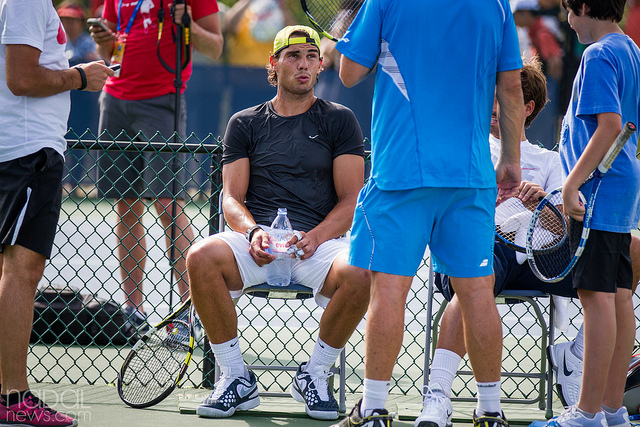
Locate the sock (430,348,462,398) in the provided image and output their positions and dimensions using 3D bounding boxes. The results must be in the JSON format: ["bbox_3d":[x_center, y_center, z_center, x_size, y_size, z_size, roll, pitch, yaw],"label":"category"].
[{"bbox_3d":[0.733,0.992,5.186,0.181,0.293,0.100,4,-34,32],"label":"sock"}]

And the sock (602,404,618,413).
[{"bbox_3d":[1.707,1.148,5.088,0.081,0.041,0.009,0,2,15],"label":"sock"}]

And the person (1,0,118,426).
[{"bbox_3d":[-1.646,-0.002,5.183,0.517,2.518,0.345,-1,2,-18],"label":"person"}]

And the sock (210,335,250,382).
[{"bbox_3d":[-0.556,0.901,5.388,0.235,0.271,0.097,0,1,-10],"label":"sock"}]

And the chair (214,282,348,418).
[{"bbox_3d":[-0.214,0.836,5.825,0.874,0.975,0.779,1,-8,2],"label":"chair"}]

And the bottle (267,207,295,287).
[{"bbox_3d":[-0.247,0.218,5.554,0.172,0.490,0.352,0,2,-2],"label":"bottle"}]

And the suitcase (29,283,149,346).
[{"bbox_3d":[-1.757,0.774,6.580,0.859,0.453,0.597,0,2,-5],"label":"suitcase"}]

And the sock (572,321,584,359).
[{"bbox_3d":[1.609,0.796,5.380,0.059,0.174,0.138,0,2,22],"label":"sock"}]

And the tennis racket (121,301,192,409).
[{"bbox_3d":[-1.006,0.887,5.706,0.253,0.921,0.092,23,-33,12],"label":"tennis racket"}]

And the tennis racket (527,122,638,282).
[{"bbox_3d":[1.577,-0.031,5.125,0.064,0.366,0.896,-8,-32,-26],"label":"tennis racket"}]

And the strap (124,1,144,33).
[{"bbox_3d":[-1.415,-1.486,6.544,0.124,0.286,0.390,0,2,-7],"label":"strap"}]

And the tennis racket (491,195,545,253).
[{"bbox_3d":[1.209,0.036,5.322,0.320,0.359,0.081,16,-7,42],"label":"tennis racket"}]

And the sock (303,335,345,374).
[{"bbox_3d":[0.027,0.881,5.457,0.262,0.244,0.126,0,2,-6],"label":"sock"}]
